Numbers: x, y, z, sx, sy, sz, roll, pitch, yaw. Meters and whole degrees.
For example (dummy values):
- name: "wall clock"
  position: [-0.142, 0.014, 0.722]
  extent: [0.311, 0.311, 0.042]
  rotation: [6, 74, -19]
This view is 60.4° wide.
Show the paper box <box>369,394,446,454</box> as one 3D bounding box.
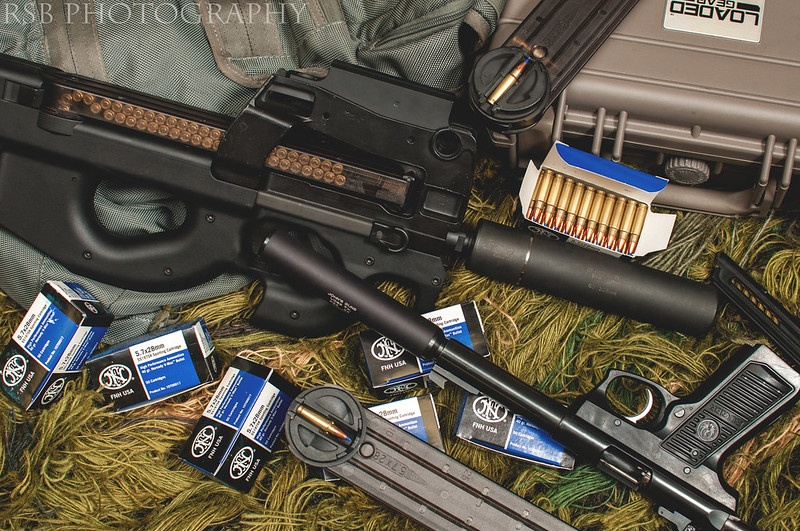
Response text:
- name: "paper box"
  position: [0.069, 0.817, 3.476]
  extent: [0.291, 0.070, 0.297]
  rotation: [6, 74, -6]

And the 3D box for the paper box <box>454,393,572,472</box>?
- name: "paper box"
  position: [0.553, 0.842, 3.413]
  extent: [0.556, 0.322, 0.132]
  rotation: [29, 10, -1]
